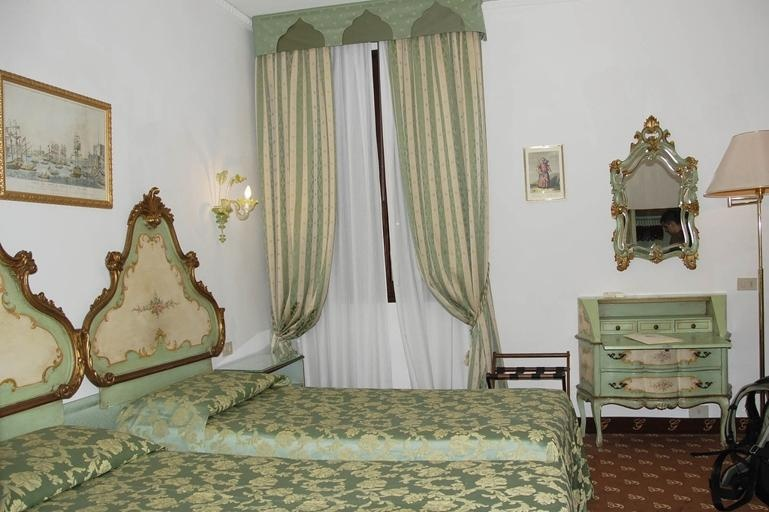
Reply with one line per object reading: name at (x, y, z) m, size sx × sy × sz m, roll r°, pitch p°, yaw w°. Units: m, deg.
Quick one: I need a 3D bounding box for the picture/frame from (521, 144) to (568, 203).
picture/frame at (1.730, -0.895, 7.238) m, size 0.517 × 0.793 × 0.033 m, roll -2°, pitch 4°, yaw 7°
